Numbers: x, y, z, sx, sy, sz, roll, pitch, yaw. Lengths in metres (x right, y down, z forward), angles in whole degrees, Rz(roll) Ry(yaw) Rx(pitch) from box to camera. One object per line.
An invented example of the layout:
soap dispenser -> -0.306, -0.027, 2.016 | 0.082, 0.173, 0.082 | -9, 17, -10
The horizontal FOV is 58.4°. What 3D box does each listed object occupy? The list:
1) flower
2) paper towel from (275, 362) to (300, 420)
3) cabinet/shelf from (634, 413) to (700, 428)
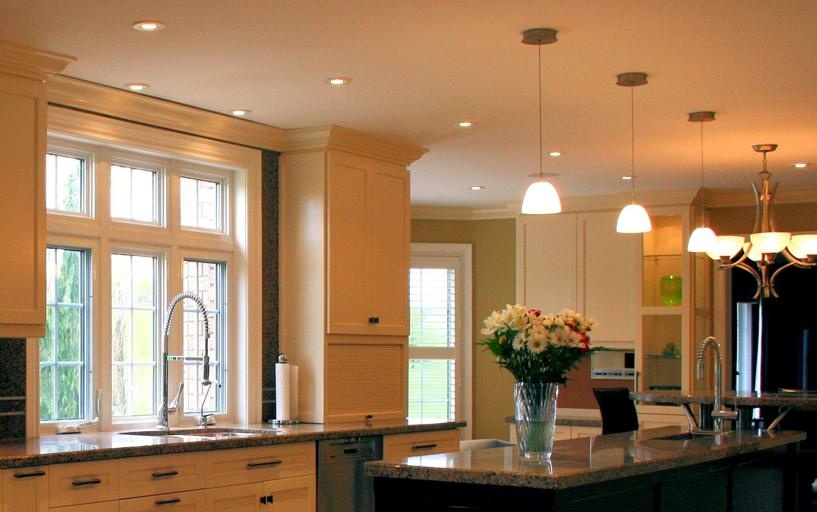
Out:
flower -> 0.656, 0.505, 3.672 | 0.510, 0.542, 0.622 | -4, -7, 39
paper towel -> -0.906, 1.022, 5.512 | 0.120, 0.442, 0.204 | -11, -12, 35
cabinet/shelf -> 2.559, 1.642, 7.329 | 0.475, 0.123, 0.125 | -3, -10, 3
